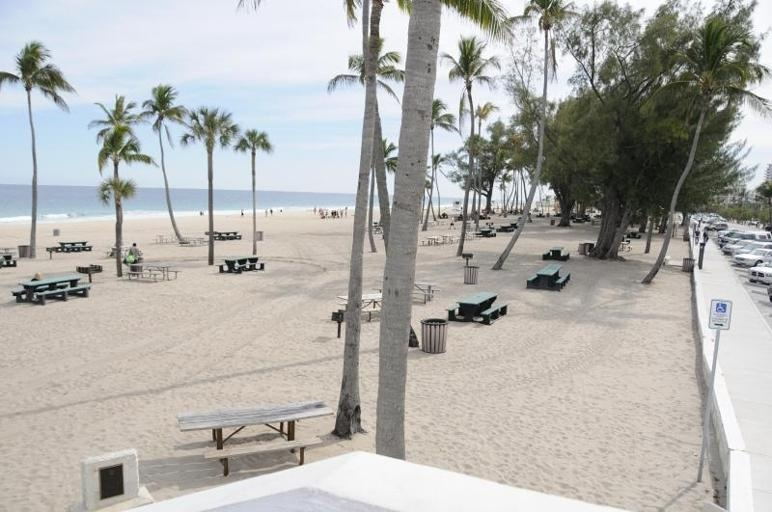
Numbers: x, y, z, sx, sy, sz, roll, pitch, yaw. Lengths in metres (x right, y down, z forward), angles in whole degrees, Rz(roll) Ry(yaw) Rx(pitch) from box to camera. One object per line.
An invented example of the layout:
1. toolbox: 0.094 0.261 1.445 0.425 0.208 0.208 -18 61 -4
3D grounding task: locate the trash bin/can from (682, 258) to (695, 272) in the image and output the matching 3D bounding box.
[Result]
1. trash bin/can: 17.468 0.543 36.300 0.590 0.736 1.190 2 7 23

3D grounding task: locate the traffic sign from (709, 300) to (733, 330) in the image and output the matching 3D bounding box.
1. traffic sign: 8.869 1.580 16.676 0.485 0.793 0.410 2 7 26

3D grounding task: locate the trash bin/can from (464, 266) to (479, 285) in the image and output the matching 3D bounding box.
1. trash bin/can: 4.208 0.933 31.003 0.826 0.963 0.809 -1 3 -35

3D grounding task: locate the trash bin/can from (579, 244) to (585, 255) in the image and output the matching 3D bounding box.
1. trash bin/can: 12.862 -0.439 41.149 0.482 0.652 1.117 1 7 13

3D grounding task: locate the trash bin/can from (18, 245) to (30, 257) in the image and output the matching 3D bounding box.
1. trash bin/can: -21.696 -0.268 37.364 0.807 0.597 0.758 1 -1 -41

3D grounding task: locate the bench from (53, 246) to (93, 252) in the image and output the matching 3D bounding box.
1. bench: -20.153 -0.435 40.198 1.475 0.429 2.245 5 8 41

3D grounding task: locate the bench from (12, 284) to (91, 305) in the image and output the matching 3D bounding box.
1. bench: -14.163 1.601 26.693 1.331 0.479 1.856 6 6 35

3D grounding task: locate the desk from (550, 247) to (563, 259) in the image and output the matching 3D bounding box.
1. desk: 10.285 -0.138 38.030 0.779 0.771 0.578 -2 1 10

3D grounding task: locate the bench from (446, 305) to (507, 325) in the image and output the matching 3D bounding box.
1. bench: 3.643 2.302 25.177 2.308 0.606 1.500 0 6 6

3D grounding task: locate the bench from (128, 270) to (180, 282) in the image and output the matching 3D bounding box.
1. bench: -11.744 0.935 31.384 2.530 0.411 2.276 -1 6 1
